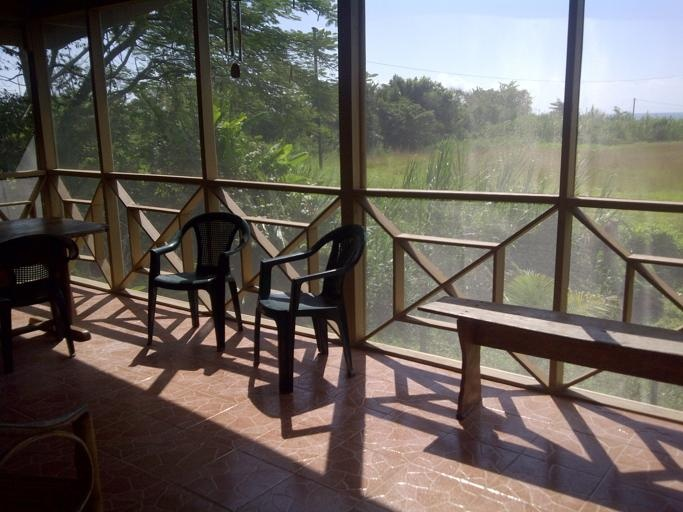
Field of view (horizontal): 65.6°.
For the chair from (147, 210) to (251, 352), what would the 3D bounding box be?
[{"bbox_3d":[-1.229,0.187,4.674,0.886,1.076,0.872,6,16,14],"label":"chair"}]
